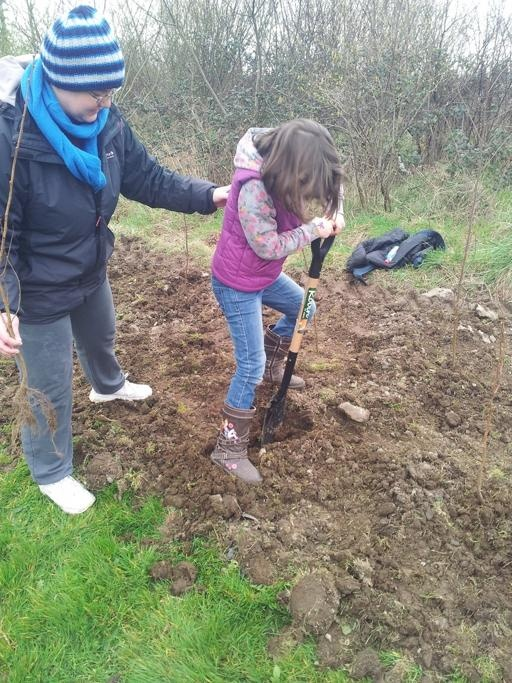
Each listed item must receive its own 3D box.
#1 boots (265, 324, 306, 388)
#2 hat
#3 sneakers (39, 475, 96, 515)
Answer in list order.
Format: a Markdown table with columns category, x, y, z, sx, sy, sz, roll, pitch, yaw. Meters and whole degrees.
| category | x | y | z | sx | sy | sz | roll | pitch | yaw |
| --- | --- | --- | --- | --- | --- | --- | --- | --- | --- |
| boots | 0.167 | 0.092 | 3.465 | 0.300 | 0.353 | 0.223 | -4 | 50 | -19 |
| hat | -0.711 | -1.202 | 2.317 | 0.328 | 0.338 | 0.211 | -2 | 22 | -18 |
| sneakers | -0.984 | 0.792 | 2.961 | 0.283 | 0.096 | 0.153 | 32 | 53 | 13 |
